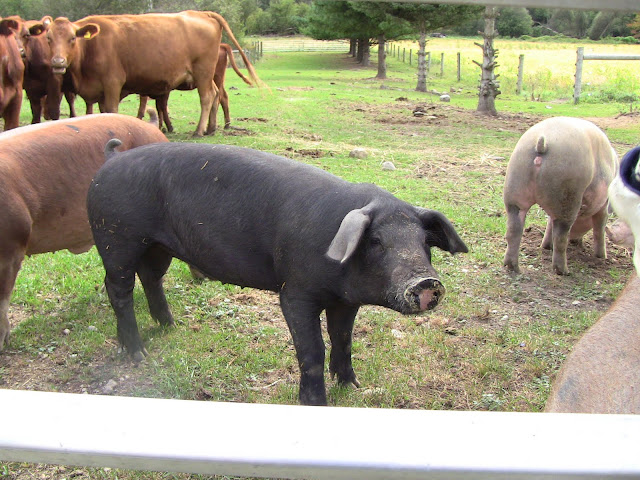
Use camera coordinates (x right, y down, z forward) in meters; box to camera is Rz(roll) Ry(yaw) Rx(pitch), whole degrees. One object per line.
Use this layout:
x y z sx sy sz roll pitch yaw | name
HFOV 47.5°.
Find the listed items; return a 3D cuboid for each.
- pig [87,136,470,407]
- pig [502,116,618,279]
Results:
-0.446 0.202 4.516 2.402 1.365 0.916 14 20 26 | pig
2.449 -0.477 7.087 0.863 1.365 2.023 7 6 36 | pig
